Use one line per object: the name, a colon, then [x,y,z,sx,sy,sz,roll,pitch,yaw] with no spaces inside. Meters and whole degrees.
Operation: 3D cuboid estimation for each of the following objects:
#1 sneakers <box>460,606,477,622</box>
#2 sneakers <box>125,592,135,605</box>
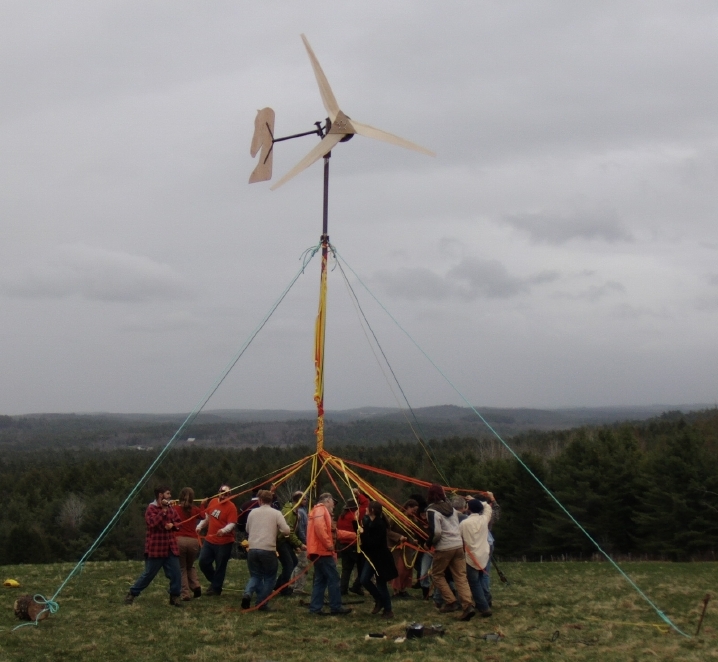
sneakers: [1.813,4.647,14.294,0.300,0.212,0.195,1,-1,-6]
sneakers: [-3.944,4.583,14.831,0.083,0.151,0.256,11,-48,-10]
